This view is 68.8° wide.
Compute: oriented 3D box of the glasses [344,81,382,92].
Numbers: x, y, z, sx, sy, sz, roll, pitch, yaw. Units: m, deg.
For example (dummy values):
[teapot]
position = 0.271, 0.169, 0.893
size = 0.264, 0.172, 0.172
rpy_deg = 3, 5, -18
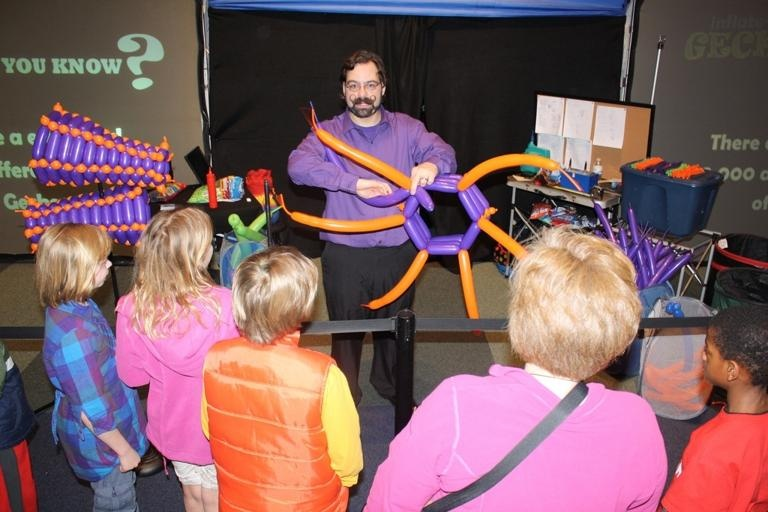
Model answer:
[glasses]
position = -0.130, -1.083, 3.581
size = 0.211, 0.073, 0.055
rpy_deg = 2, 8, -8

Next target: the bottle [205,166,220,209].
[bottle]
position = -1.448, -0.559, 4.763
size = 0.086, 0.284, 0.334
rpy_deg = 0, 9, -17

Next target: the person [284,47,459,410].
[person]
position = -0.072, -0.047, 3.854
size = 1.103, 2.464, 0.992
rpy_deg = -6, 19, -15

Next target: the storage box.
[storage box]
position = 2.434, -0.474, 4.790
size = 0.565, 0.493, 0.684
rpy_deg = -12, 20, -35
